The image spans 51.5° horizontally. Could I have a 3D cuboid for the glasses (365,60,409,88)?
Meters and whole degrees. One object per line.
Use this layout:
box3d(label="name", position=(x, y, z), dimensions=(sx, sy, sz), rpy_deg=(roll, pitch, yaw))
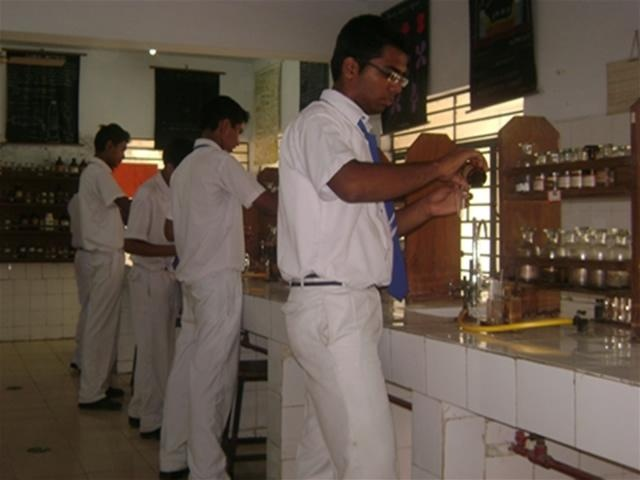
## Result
box3d(label="glasses", position=(0.261, -0.631, 2.529), dimensions=(0.108, 0.032, 0.104), rpy_deg=(45, 18, 32))

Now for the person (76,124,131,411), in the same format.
box3d(label="person", position=(-1.794, 0.192, 5.517), dimensions=(0.416, 2.343, 0.723), rpy_deg=(0, 3, -20))

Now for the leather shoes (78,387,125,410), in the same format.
box3d(label="leather shoes", position=(-1.818, 1.299, 5.442), dimensions=(0.420, 0.167, 0.138), rpy_deg=(3, -4, -2))

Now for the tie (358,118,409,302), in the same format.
box3d(label="tie", position=(0.277, -0.071, 2.653), dimensions=(0.154, 0.818, 0.090), rpy_deg=(-10, 1, 26))

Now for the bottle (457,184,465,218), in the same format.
box3d(label="bottle", position=(0.605, -0.171, 2.821), dimensions=(0.025, 0.097, 0.069), rpy_deg=(8, 9, 6))

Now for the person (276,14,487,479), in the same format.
box3d(label="person", position=(0.201, 0.005, 2.579), dimensions=(0.681, 1.761, 0.416), rpy_deg=(-1, 3, -22))
